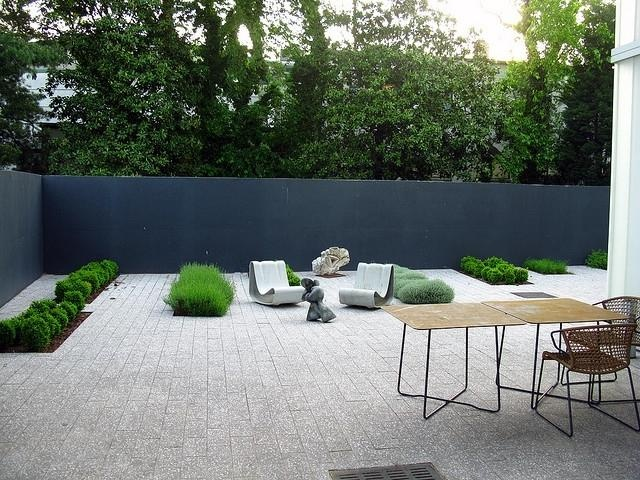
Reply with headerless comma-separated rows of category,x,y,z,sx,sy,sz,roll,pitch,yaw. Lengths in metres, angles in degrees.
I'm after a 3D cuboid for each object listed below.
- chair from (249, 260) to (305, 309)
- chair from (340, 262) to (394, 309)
chair,-0.909,0.930,8.856,0.783,0.840,1.089,1,3,-36
chair,0.991,0.985,8.792,0.922,0.875,0.965,1,4,26
